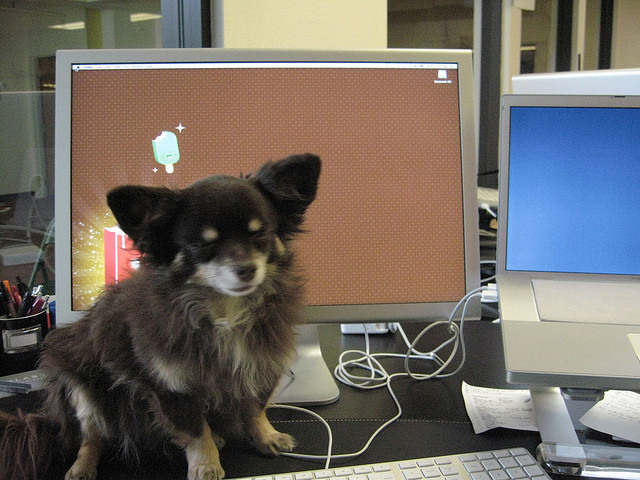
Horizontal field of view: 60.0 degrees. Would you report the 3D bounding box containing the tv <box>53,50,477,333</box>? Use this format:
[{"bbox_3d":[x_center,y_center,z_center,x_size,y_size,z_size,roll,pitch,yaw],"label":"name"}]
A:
[{"bbox_3d":[-0.161,-0.120,1.278,0.690,0.465,0.036,0,-4,-7],"label":"tv"}]

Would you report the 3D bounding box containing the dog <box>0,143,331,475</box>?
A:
[{"bbox_3d":[-0.299,0.185,1.343,0.834,0.751,0.615,-6,3,-29],"label":"dog"}]

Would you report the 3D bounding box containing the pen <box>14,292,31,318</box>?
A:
[{"bbox_3d":[-0.813,0.179,1.500,0.013,0.014,0.071,11,53,21],"label":"pen"}]

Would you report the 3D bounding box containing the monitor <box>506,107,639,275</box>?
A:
[{"bbox_3d":[0.587,-0.119,1.531,0.466,0.444,0.356,0,8,3],"label":"monitor"}]
